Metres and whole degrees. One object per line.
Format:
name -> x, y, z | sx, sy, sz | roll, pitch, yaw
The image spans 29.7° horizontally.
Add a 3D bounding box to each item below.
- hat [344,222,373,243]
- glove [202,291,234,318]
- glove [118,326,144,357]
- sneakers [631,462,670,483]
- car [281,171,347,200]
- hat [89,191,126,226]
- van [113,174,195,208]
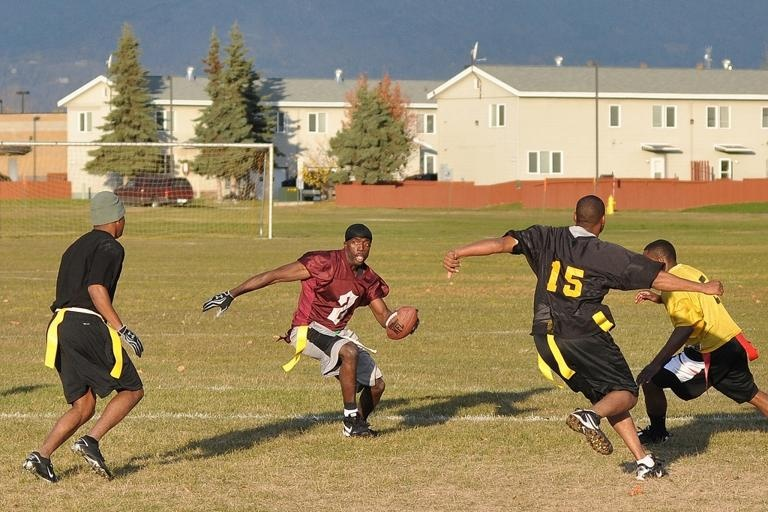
hat -> -0.474, -0.434, 26.087 | 0.408, 0.224, 0.375 | 3, 0, -8
glove -> -2.902, 0.848, 25.642 | 0.522, 0.442, 0.660 | -1, 4, 5
glove -> -4.335, 1.454, 24.995 | 0.203, 0.683, 0.367 | -50, 15, -3
sneakers -> 4.667, 3.768, 25.189 | 0.688, 0.274, 0.248 | 0, -15, -21
car -> -4.237, -4.295, 88.730 | 2.659, 1.292, 2.503 | -2, 5, 3
hat -> -4.846, -0.845, 25.425 | 0.636, 0.455, 0.611 | -11, 5, -12
van -> -10.792, -2.932, 65.855 | 3.131, 0.886, 2.095 | 2, 6, 15
